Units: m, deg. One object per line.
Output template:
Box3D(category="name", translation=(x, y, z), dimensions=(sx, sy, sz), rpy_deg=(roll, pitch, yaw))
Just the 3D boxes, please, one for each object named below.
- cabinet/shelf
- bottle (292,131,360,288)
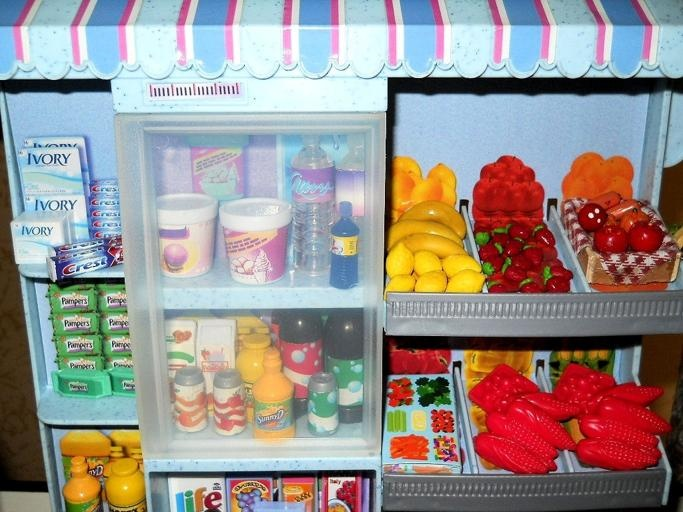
Box3D(category="cabinet/shelf", translation=(0.007, 0.092, 1.782), dimensions=(1.309, 1.175, 0.436), rpy_deg=(-1, 11, -2))
Box3D(category="bottle", translation=(-0.037, -0.143, 1.655), dimensions=(0.136, 0.388, 0.277), rpy_deg=(-14, 29, -32))
